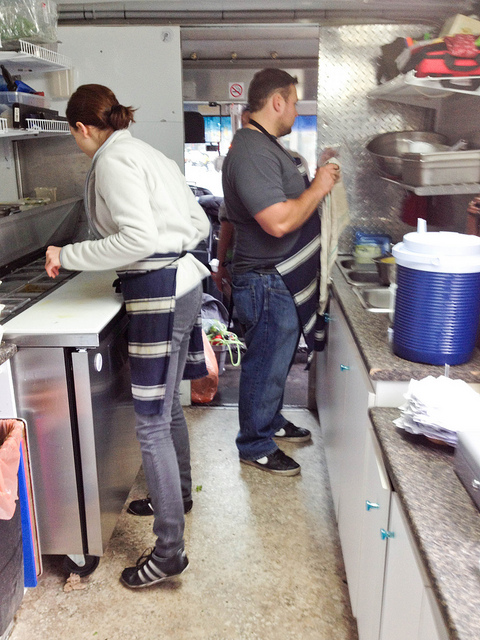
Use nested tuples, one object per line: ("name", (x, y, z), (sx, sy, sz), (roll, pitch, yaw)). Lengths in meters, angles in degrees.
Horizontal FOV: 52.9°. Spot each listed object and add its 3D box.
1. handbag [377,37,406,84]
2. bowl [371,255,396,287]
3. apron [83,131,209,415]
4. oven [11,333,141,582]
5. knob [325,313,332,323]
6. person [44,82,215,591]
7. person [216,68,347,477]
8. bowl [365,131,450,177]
("handbag", (0.754, -1.331, 2.426), (0.106, 0.250, 0.431), (3, 15, 12))
("bowl", (0.671, -0.230, 2.256), (0.077, 0.128, 0.514), (4, 15, 15))
("apron", (-0.333, -0.170, 1.647), (0.348, 0.896, 0.399), (-1, 14, -2))
("oven", (-0.616, 0.504, 1.941), (0.283, 0.812, 0.852), (-7, -2, -8))
("knob", (0.415, -0.006, 2.287), (0.012, 0.034, 0.033), (-8, -1, -22))
("person", (-0.367, 0.074, 1.706), (0.441, 1.684, 0.468), (3, 14, 13))
("person", (0.165, -0.246, 2.574), (0.550, 1.877, 1.325), (-1, 14, -2))
("bowl", (0.848, -0.857, 2.455), (0.369, 0.256, 0.569), (2, 14, 8))
